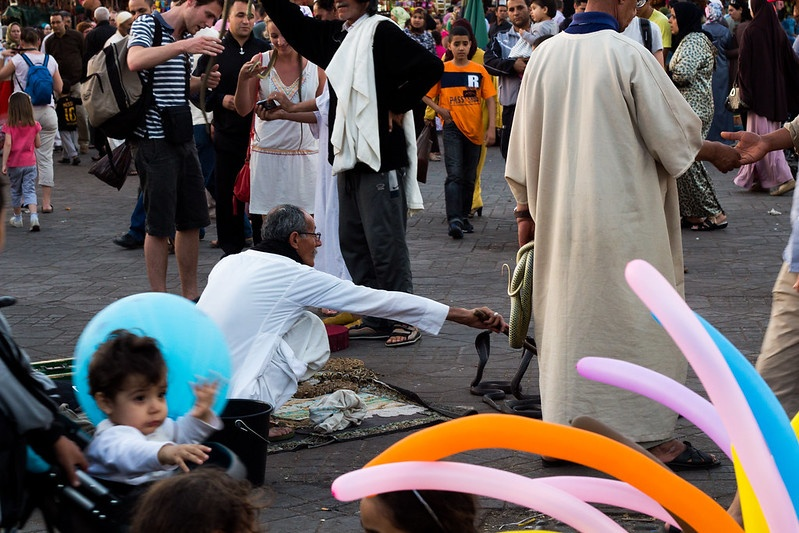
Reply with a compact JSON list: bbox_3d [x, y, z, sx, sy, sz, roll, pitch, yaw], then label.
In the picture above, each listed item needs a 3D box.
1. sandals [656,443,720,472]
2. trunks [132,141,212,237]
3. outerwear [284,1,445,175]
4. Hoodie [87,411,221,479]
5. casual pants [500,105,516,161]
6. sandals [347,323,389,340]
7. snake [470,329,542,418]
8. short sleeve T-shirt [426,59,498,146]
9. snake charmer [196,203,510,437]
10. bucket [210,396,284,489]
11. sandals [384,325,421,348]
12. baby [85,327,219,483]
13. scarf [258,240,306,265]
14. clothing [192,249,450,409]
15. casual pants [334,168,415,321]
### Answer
[{"bbox_3d":[1.599,1.063,4.955,0.378,0.115,0.150,-2,13,-5],"label":"sandals"},{"bbox_3d":[-1.976,-0.724,7.706,0.417,0.843,0.683,1,8,34],"label":"trunks"},{"bbox_3d":[-0.278,-1.380,7.071,1.220,0.407,1.168,4,27,-25],"label":"outerwear"},{"bbox_3d":[-1.075,0.743,3.729,0.330,0.163,0.264,6,0,17],"label":"Hoodie"},{"bbox_3d":[1.416,-1.744,11.591,0.183,0.651,0.155,1,12,-27],"label":"casual pants"},{"bbox_3d":[-0.270,0.522,7.254,0.336,0.133,0.123,6,-6,-4],"label":"sandals"},{"bbox_3d":[0.686,0.724,5.856,0.315,0.253,0.615,-1,3,-12],"label":"snake"},{"bbox_3d":[0.731,-1.996,10.835,0.878,1.027,0.281,-1,31,5],"label":"short sleeve T-shirt"},{"bbox_3d":[-0.269,0.445,5.409,1.862,1.084,1.420,21,23,36],"label":"snake charmer"},{"bbox_3d":[-0.790,0.864,4.587,0.405,0.386,0.403,5,2,0],"label":"bucket"},{"bbox_3d":[0.018,0.543,7.052,0.141,0.115,0.304,-1,-4,20],"label":"sandals"},{"bbox_3d":[-1.065,0.645,3.799,0.643,0.643,0.555,1,0,-14],"label":"baby"},{"bbox_3d":[-0.727,-0.105,5.355,0.159,0.097,0.194,11,4,-17],"label":"scarf"},{"bbox_3d":[-0.424,0.172,5.164,1.160,0.659,1.111,-10,12,-35],"label":"clothing"},{"bbox_3d":[-0.289,-0.310,7.329,0.549,1.512,0.415,12,47,10],"label":"casual pants"}]
